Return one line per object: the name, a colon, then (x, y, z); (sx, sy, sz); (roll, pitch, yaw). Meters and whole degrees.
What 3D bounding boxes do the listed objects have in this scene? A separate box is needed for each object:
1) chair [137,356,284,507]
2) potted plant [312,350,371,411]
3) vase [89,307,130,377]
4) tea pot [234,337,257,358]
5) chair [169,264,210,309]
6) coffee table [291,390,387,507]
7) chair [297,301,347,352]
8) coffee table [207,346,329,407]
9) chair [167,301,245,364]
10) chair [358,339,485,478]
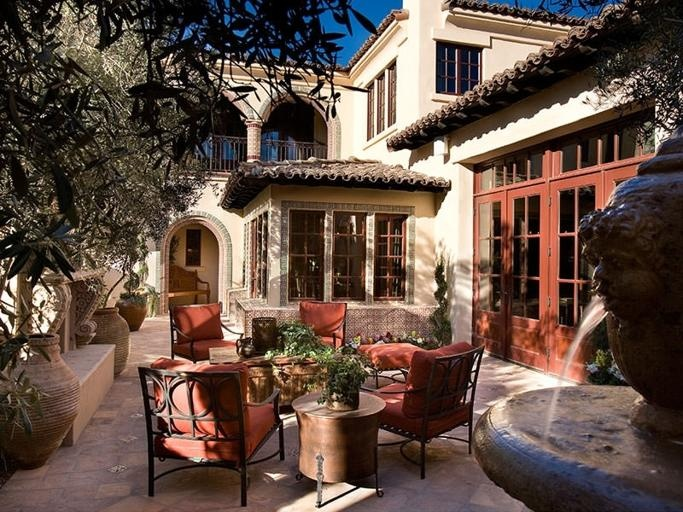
chair: (-1.050, 1.339, 4.411); (0.876, 1.101, 1.209); (-1, -2, 10)
potted plant: (0.006, 1.033, 4.368); (0.414, 0.457, 0.399); (2, -8, -2)
vase: (-3.291, 1.213, 7.612); (0.722, 1.005, 0.782); (1, -5, -7)
tea pot: (-1.142, 1.087, 6.182); (0.225, 0.256, 0.184); (-3, 0, -25)
chair: (-5.021, 0.976, 17.161); (0.465, 1.024, 1.418); (1, -1, 34)
coffee table: (-0.011, 1.532, 4.293); (0.638, 0.655, 0.719); (0, -3, -10)
chair: (-0.238, 1.054, 8.092); (0.574, 0.895, 0.676); (0, -7, 5)
coffee table: (-0.683, 1.355, 5.865); (1.151, 0.614, 0.861); (1, -4, -22)
chair: (-1.964, 1.137, 7.837); (1.125, 1.157, 0.865); (2, -3, -41)
chair: (0.746, 1.318, 4.876); (0.870, 1.016, 1.109); (1, -2, -38)
